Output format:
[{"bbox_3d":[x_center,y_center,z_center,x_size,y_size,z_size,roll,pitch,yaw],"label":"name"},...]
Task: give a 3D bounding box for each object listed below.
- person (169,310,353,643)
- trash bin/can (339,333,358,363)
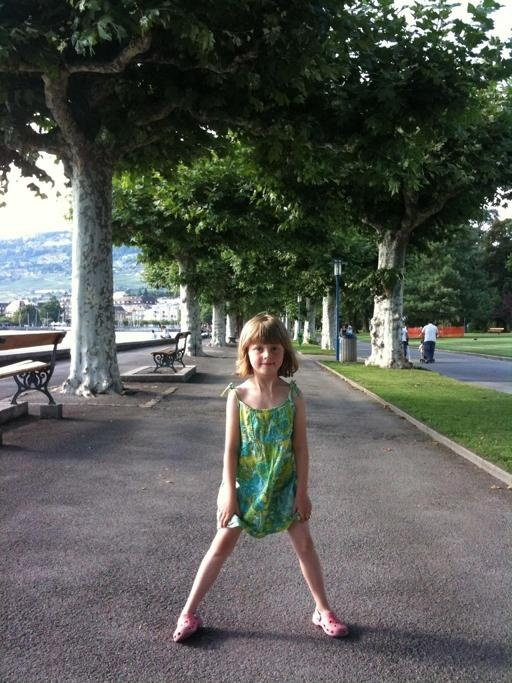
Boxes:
[{"bbox_3d":[0.047,0.585,2.587,0.693,1.402,0.311,0,4,-9],"label":"person"},{"bbox_3d":[3.715,0.339,23.757,0.931,1.377,0.948,-1,0,25],"label":"trash bin/can"}]
